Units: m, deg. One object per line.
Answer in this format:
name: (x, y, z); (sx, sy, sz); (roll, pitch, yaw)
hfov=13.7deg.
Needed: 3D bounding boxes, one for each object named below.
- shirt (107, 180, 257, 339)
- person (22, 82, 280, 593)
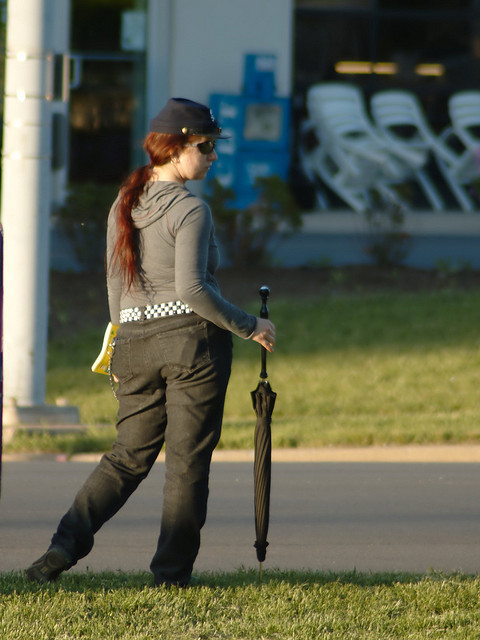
shirt: (-0.306, -0.276, 9.323); (0.762, 0.706, 0.286); (7, 8, 27)
person: (-0.369, 0.131, 9.360); (0.932, 2.286, 0.421); (3, 6, 1)
